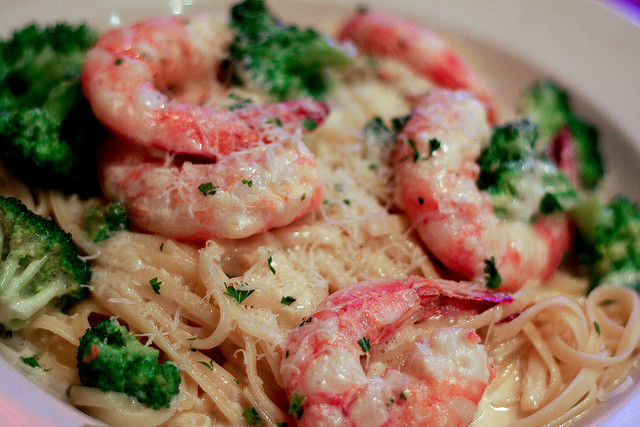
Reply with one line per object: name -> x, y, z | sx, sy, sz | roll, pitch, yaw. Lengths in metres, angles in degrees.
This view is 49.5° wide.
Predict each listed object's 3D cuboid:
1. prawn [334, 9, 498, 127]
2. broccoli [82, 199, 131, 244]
prawn -> 0.539, -0.781, 3.692 | 1.053, 0.356, 0.230 | 25, 12, 16
broccoli -> -1.009, 0.040, 3.240 | 0.147, 0.187, 0.258 | 29, 64, -34
